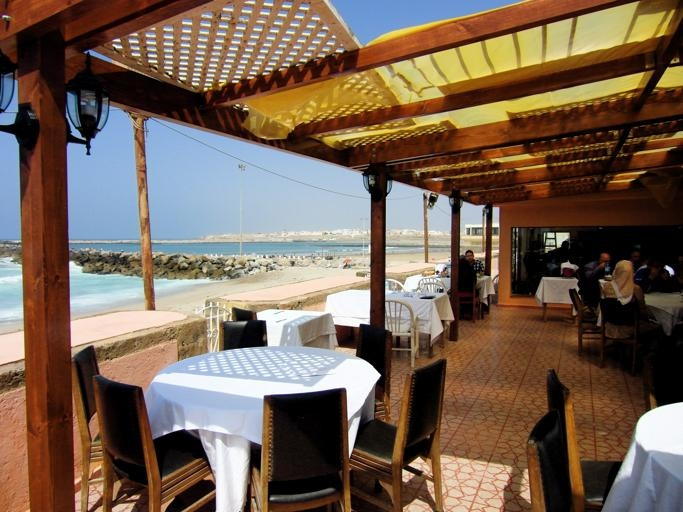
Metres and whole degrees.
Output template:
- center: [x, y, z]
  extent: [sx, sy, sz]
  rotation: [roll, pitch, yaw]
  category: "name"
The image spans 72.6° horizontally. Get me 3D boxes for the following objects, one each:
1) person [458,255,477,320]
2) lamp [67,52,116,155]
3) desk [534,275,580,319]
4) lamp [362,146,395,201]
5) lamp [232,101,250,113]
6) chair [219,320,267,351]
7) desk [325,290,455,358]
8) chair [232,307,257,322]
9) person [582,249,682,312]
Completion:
- center: [2.507, 0.619, 9.203]
  extent: [0.329, 1.422, 1.191]
  rotation: [1, 4, 16]
  category: "person"
- center: [-1.540, -0.914, 2.821]
  extent: [0.223, 0.624, 0.212]
  rotation: [-3, 5, -31]
  category: "lamp"
- center: [4.436, 0.778, 9.716]
  extent: [0.946, 0.804, 0.959]
  rotation: [2, 6, 18]
  category: "desk"
- center: [0.452, -0.891, 5.517]
  extent: [0.192, 0.544, 0.511]
  rotation: [3, 5, 37]
  category: "lamp"
- center: [-0.862, -1.245, 4.005]
  extent: [0.148, 0.035, 0.140]
  rotation: [3, 2, 6]
  category: "lamp"
- center: [-0.956, 0.767, 4.570]
  extent: [0.312, 0.408, 0.340]
  rotation: [0, 0, -8]
  category: "chair"
- center: [0.603, 1.064, 7.435]
  extent: [1.953, 0.691, 1.570]
  rotation: [-6, -5, -4]
  category: "desk"
- center: [-1.021, 0.619, 4.877]
  extent: [0.185, 0.224, 0.180]
  rotation: [0, -1, 4]
  category: "chair"
- center: [4.820, 0.418, 7.646]
  extent: [1.065, 0.382, 1.055]
  rotation: [-4, 18, 15]
  category: "person"
